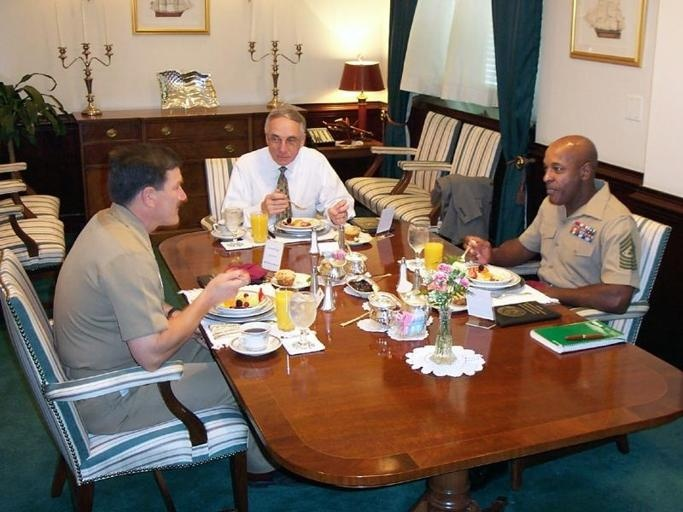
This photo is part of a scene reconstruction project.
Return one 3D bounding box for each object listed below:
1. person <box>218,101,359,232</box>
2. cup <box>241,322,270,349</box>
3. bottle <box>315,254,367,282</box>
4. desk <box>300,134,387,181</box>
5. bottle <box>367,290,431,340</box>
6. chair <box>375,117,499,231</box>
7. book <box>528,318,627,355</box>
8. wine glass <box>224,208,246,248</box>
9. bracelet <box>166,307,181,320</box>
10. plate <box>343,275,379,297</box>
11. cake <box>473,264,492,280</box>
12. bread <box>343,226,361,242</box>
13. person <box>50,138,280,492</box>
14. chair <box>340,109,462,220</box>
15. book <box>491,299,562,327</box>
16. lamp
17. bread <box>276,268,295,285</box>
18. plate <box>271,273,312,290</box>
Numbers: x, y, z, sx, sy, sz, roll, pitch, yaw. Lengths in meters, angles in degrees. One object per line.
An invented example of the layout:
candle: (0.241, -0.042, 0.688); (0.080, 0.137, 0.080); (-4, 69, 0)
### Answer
person: (-0.336, -0.403, 3.468); (0.918, 1.107, 0.776); (3, 29, 0)
cup: (-0.309, 0.288, 1.841); (0.078, 0.061, 0.091); (13, 29, 22)
bottle: (0.014, 0.041, 2.357); (0.182, 0.074, 0.127); (-5, 12, -26)
desk: (0.110, -1.133, 6.030); (0.541, 0.602, 0.869); (-5, 24, -11)
bottle: (0.199, 0.211, 1.952); (0.157, 0.094, 0.210); (-2, 9, -23)
chair: (0.874, -0.829, 5.118); (1.188, 1.388, 0.986); (-6, 22, -19)
book: (0.865, 0.290, 1.858); (0.211, 0.034, 0.147); (-6, 13, -16)
wine glass: (-0.585, -0.161, 2.781); (0.134, 0.191, 0.128); (8, 13, 17)
bracelet: (-0.739, 0.251, 2.257); (0.061, 0.025, 0.044); (-22, 40, -19)
plate: (0.084, 0.135, 2.219); (0.104, 0.038, 0.103); (-11, 30, -16)
cake: (0.629, 0.074, 2.300); (0.064, 0.027, 0.074); (-6, 23, -11)
bread: (0.049, -0.126, 2.837); (0.073, 0.028, 0.076); (-5, 21, -7)
person: (-0.715, 0.242, 2.157); (0.917, 1.308, 0.644); (-5, 24, -23)
chair: (0.619, -0.808, 5.350); (1.139, 1.206, 1.070); (-20, 30, -39)
book: (0.722, 0.229, 2.038); (0.161, 0.022, 0.115); (-6, 20, -16)
lamp: (0.243, -1.892, 6.150); (0.553, 0.759, 0.542); (15, 26, 35)
bread: (-0.253, 0.091, 2.253); (0.069, 0.047, 0.067); (-1, 9, -5)
plate: (-0.201, 0.115, 2.243); (0.101, 0.020, 0.099); (-6, 26, -21)
